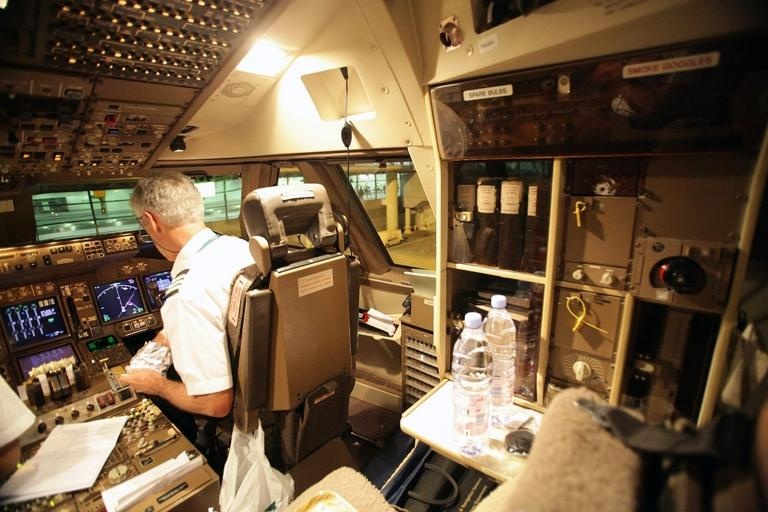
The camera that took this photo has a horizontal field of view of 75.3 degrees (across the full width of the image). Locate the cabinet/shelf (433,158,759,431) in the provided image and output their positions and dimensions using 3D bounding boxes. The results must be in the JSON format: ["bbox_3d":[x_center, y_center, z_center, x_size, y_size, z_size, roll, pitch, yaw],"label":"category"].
[{"bbox_3d":[1.089,0.189,2.454,1.256,1.213,0.462,8,17,32],"label":"cabinet/shelf"}]
